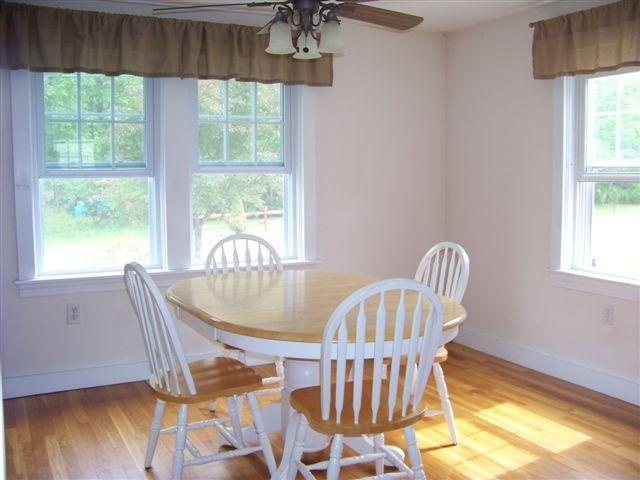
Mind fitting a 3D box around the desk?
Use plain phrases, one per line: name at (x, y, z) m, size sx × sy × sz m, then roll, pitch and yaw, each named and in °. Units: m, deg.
desk at (-0.056, 0.771, 3.059) m, size 1.235 × 0.875 × 1.858 m, roll 15°, pitch 8°, yaw 38°
